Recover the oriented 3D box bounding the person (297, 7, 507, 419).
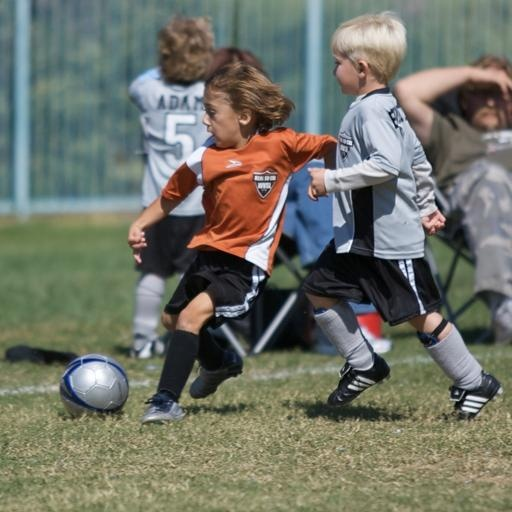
[{"bbox_3d":[0.483,-0.185,3.722,0.591,1.646,0.416,-1,6,3],"label":"person"}]

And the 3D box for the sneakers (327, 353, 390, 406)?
[{"bbox_3d":[0.453,0.553,4.020,0.275,0.121,0.093,-37,35,5],"label":"sneakers"}]

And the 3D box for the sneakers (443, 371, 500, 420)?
[{"bbox_3d":[0.896,0.590,3.854,0.144,0.300,0.101,0,47,-25],"label":"sneakers"}]

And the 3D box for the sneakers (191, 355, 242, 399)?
[{"bbox_3d":[-0.178,0.534,4.032,0.085,0.241,0.135,50,7,27],"label":"sneakers"}]

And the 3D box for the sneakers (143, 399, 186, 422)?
[{"bbox_3d":[-0.379,0.627,3.731,0.075,0.071,0.170,-6,-14,26],"label":"sneakers"}]
